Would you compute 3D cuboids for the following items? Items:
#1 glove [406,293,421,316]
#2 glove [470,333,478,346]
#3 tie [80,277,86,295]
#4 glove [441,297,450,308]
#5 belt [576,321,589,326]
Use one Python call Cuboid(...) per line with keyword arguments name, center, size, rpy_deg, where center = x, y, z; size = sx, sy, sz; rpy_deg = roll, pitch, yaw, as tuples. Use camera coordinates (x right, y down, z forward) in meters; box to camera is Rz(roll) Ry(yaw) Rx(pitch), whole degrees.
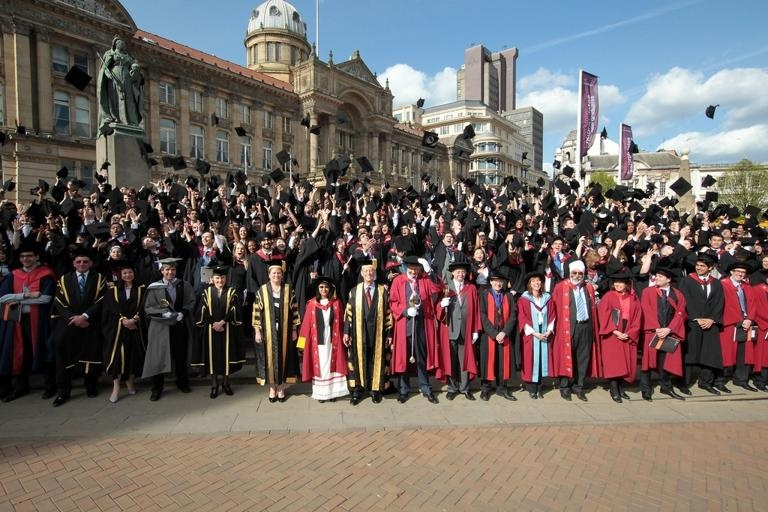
Cuboid(name="glove", center=(0.711, 1.170, 16.920), size=(0.346, 0.500, 0.136), rpy_deg=(-3, -2, -22))
Cuboid(name="glove", center=(2.257, 2.005, 17.354), size=(0.222, 0.279, 0.099), rpy_deg=(-1, -3, -36))
Cuboid(name="tie", center=(-7.328, 0.676, 16.839), size=(0.136, 0.392, 0.083), rpy_deg=(-2, -2, -7))
Cuboid(name="glove", center=(1.479, 1.123, 17.108), size=(0.246, 0.257, 0.267), rpy_deg=(-3, -2, 4))
Cuboid(name="belt", center=(4.892, 1.623, 17.260), size=(0.301, 0.083, 0.048), rpy_deg=(-2, -2, -4))
